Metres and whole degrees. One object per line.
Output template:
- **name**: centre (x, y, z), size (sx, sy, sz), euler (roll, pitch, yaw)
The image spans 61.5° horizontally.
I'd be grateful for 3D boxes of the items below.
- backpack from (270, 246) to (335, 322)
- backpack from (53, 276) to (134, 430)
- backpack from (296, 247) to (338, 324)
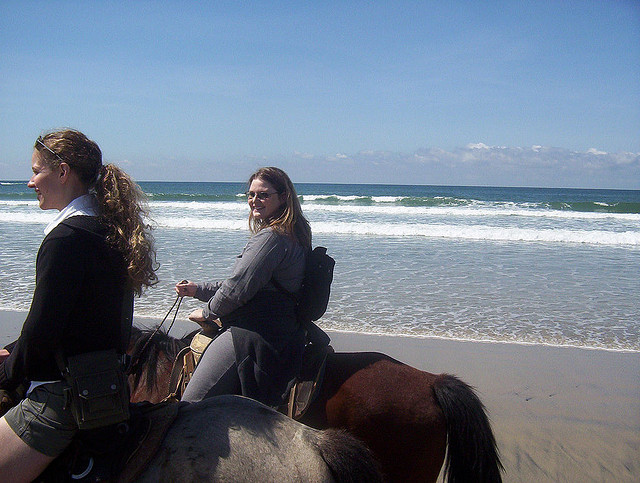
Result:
- **backpack**: centre (-0.082, 0.295, 3.590), size (0.271, 0.462, 0.460), euler (7, 12, 29)
- **backpack**: centre (-1.070, 0.548, 2.683), size (0.411, 0.707, 0.349), euler (-9, 15, -43)
- **backpack**: centre (-0.043, 0.302, 3.667), size (0.253, 0.454, 0.163), euler (19, -8, -21)
